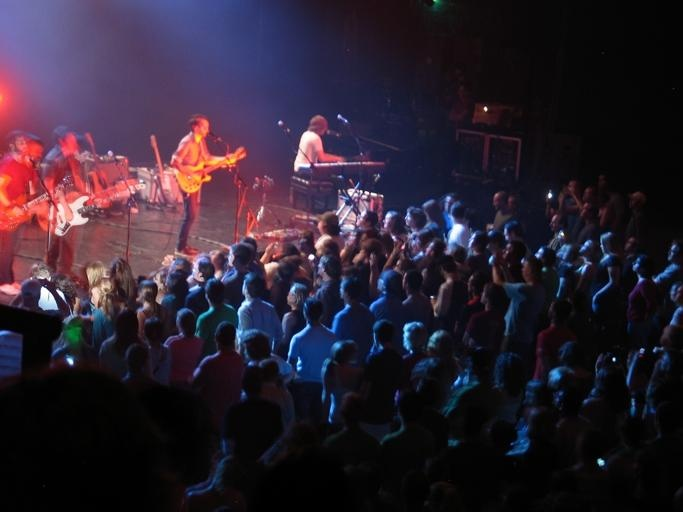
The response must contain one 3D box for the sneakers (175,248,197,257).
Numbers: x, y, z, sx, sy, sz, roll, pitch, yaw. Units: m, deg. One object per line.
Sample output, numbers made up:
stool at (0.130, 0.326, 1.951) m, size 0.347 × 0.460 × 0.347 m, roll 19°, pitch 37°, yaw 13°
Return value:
sneakers at (-2.409, -0.072, 8.914) m, size 0.419 × 0.185 × 0.151 m, roll -1°, pitch 8°, yaw -12°
